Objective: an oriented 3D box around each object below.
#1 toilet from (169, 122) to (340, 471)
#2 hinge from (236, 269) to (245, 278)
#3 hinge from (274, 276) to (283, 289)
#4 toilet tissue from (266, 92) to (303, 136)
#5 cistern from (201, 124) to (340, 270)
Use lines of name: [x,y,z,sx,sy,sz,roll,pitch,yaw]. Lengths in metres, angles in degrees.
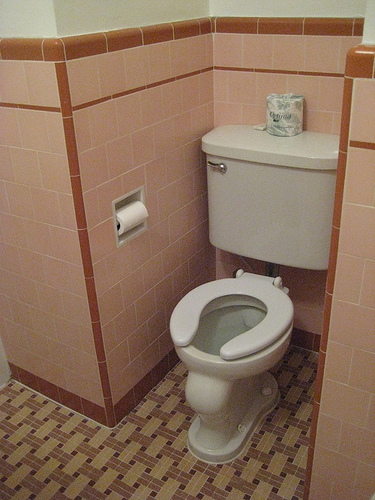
toilet: [0.197,0.102,1.498,0.564,1.080,0.925,6,32,18]
hinge: [0.212,0.095,1.650,0.025,0.028,0.025,-12,32,35]
hinge: [0.344,0.123,1.585,0.032,0.045,0.015,10,8,32]
toilet tissue: [0.350,-0.493,1.507,0.130,0.131,0.132,4,28,12]
cistern: [0.355,-0.197,1.576,0.555,0.409,0.323,11,29,28]
